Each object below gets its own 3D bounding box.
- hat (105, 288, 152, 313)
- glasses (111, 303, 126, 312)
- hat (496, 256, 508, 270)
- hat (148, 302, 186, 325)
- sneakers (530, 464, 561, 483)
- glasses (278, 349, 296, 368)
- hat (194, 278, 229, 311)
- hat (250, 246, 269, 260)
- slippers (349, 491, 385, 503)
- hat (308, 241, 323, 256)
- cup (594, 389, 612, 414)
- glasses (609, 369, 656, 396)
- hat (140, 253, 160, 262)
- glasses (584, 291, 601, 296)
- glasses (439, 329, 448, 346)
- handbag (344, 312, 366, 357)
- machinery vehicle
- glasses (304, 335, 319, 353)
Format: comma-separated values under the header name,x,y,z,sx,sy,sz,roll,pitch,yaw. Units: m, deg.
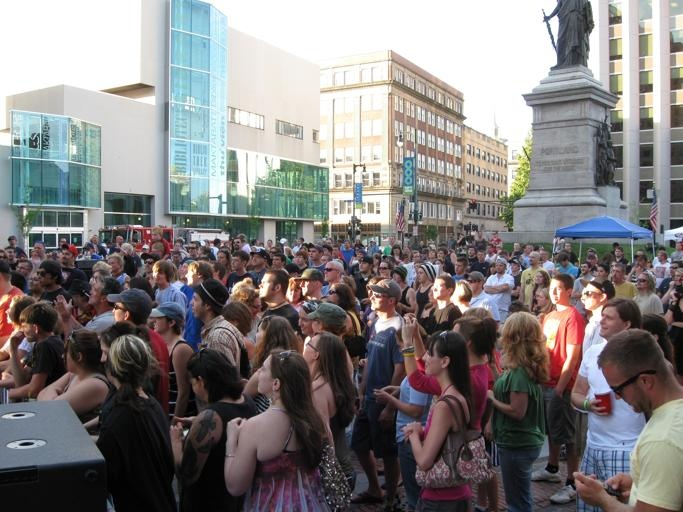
name,x,y,z,sx,sy,sz,roll,pitch,yaw
hat,-2.322,0.542,7.812,0.379,0.239,0.291,17,7,5
glasses,-2.421,0.560,7.741,0.147,0.053,0.147,8,-4,-28
hat,3.335,0.137,14.891,0.171,0.208,0.256,-3,-34,41
hat,-1.887,0.612,7.757,0.276,0.164,0.217,10,-9,-7
sneakers,2.389,2.557,8.384,0.338,0.201,0.153,4,-3,4
glasses,-0.450,0.831,5.757,0.111,0.120,0.164,2,2,35
hat,-1.483,0.412,8.230,0.360,0.221,0.282,33,25,6
hat,-1.801,-0.075,15.525,0.265,0.174,0.402,5,-10,38
slippers,0.286,2.595,7.713,0.336,0.136,0.138,2,0,-5
hat,-0.547,-0.160,15.270,0.232,0.186,0.341,-3,-14,33
cup,2.348,1.316,6.382,0.137,0.180,0.155,-1,-16,0
glasses,1.997,0.863,4.929,0.192,0.061,0.195,-33,-8,7
hat,-3.765,-0.030,14.171,0.254,0.150,0.409,1,-12,4
glasses,2.932,0.433,8.310,0.169,0.060,0.036,3,2,33
glasses,0.878,0.688,6.156,0.058,0.096,0.045,8,6,37
handbag,0.148,0.948,8.267,0.246,0.612,0.912,1,2,0
machinery vehicle,-7.603,-0.757,29.057,5.105,2.002,1.889,1,-2,-42
glasses,-0.287,0.816,6.655,0.133,0.075,0.133,17,-6,-14
